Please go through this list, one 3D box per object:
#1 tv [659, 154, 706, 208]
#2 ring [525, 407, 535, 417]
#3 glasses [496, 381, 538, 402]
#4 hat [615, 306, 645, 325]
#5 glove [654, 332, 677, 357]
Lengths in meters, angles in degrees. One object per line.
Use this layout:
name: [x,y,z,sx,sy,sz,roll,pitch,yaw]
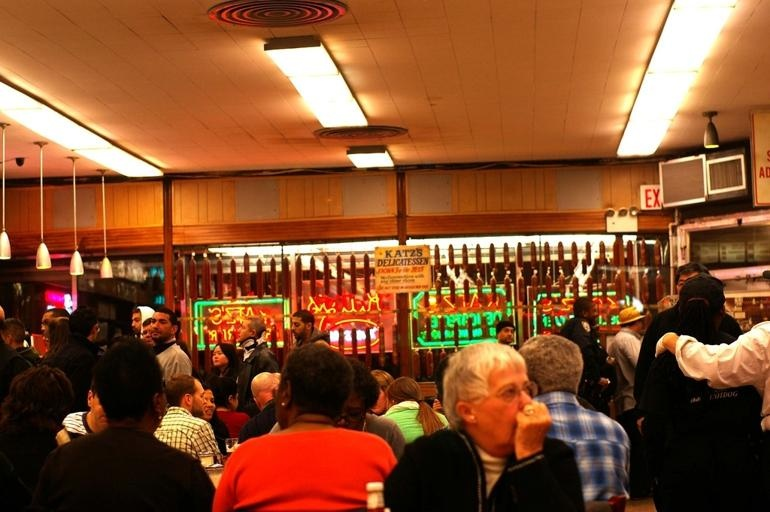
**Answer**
tv: [3.839,-0.954,9.582,0.259,0.654,0.712,1,-4,-38]
ring: [0.610,0.678,3.173,0.033,0.032,0.009,-35,-6,15]
glasses: [0.565,0.601,3.325,0.155,0.077,0.202,-2,-15,1]
hat: [2.808,0.653,8.550,0.281,0.100,0.255,-19,7,-22]
glove: [1.791,0.591,4.781,0.065,0.156,0.117,19,23,-29]
